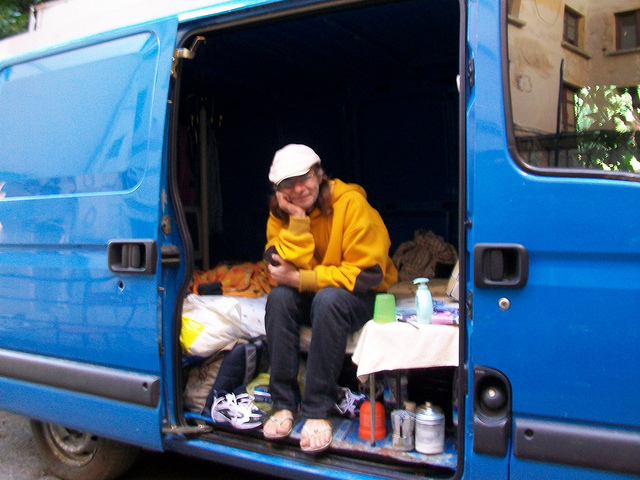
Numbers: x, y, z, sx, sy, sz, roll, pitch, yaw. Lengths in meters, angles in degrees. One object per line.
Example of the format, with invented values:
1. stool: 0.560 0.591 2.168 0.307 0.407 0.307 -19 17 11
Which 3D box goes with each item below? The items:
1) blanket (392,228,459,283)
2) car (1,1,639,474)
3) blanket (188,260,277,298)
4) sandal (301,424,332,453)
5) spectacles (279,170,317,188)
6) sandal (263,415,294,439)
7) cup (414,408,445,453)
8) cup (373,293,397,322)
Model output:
1. blanket: 0.860 0.143 4.421 0.380 0.512 0.216 4 -3 14
2. car: -0.160 -0.187 3.736 3.915 2.339 2.631 2 2 24
3. blanket: -0.620 0.302 4.021 0.377 0.152 0.384 0 2 -34
4. sandal: -0.017 1.106 2.886 0.168 0.109 0.158 1 0 1
5. spectacles: -0.134 -0.394 3.323 0.247 0.096 0.117 1 0 -10
6. sandal: -0.237 1.075 2.998 0.168 0.100 0.132 1 0 -5
7. cup: 0.588 1.040 2.897 0.170 0.219 0.180 0 -4 0
8. cup: 0.367 0.386 2.962 0.121 0.155 0.134 1 -5 1
